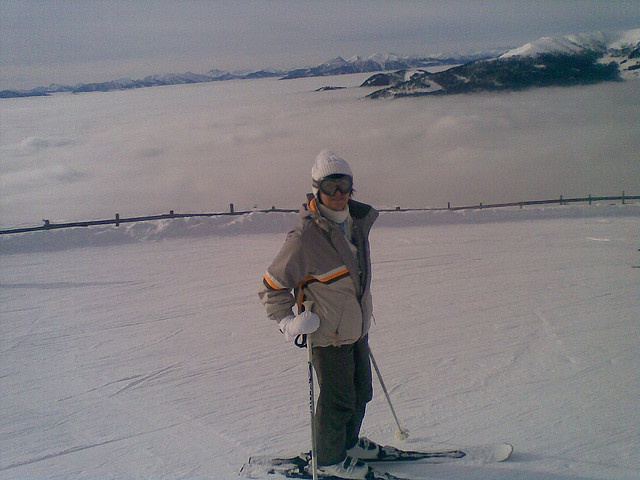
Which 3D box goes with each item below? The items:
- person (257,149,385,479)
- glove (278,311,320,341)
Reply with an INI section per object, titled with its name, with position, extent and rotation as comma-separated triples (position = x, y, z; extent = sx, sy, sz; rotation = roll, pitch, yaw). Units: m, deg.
[person]
position = 0.149, 0.829, 7.167
extent = 1.199, 3.364, 0.864
rotation = -21, 22, -35
[glove]
position = -0.216, 0.903, 7.027
extent = 0.411, 0.259, 0.181
rotation = -2, 7, 21
